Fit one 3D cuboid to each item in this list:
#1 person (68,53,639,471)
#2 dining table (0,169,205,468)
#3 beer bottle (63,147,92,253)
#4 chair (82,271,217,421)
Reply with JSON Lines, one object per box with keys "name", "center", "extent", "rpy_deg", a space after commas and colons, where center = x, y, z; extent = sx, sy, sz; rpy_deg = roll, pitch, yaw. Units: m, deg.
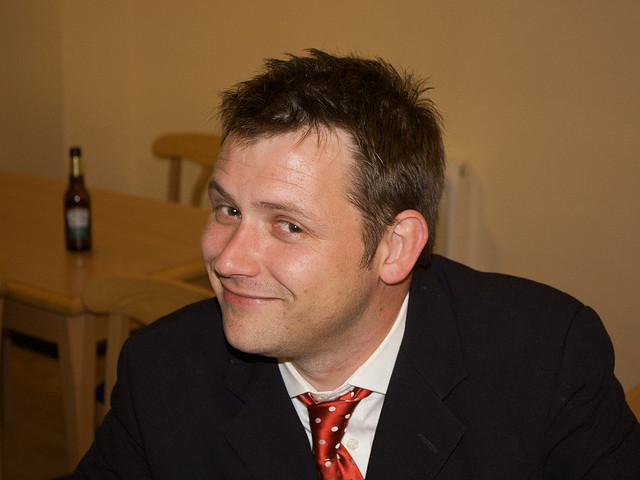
{"name": "person", "center": [0.115, 0.099, 1.387], "extent": [1.178, 0.948, 0.448], "rpy_deg": [9, 14, 11]}
{"name": "dining table", "center": [-0.719, 0.260, 2.008], "extent": [0.729, 0.781, 0.574], "rpy_deg": [19, 26, 37]}
{"name": "beer bottle", "center": [-0.918, -0.158, 2.384], "extent": [0.118, 0.396, 0.124], "rpy_deg": [6, 24, -3]}
{"name": "chair", "center": [-0.492, 0.224, 1.793], "extent": [0.377, 0.559, 0.351], "rpy_deg": [2, 8, -11]}
